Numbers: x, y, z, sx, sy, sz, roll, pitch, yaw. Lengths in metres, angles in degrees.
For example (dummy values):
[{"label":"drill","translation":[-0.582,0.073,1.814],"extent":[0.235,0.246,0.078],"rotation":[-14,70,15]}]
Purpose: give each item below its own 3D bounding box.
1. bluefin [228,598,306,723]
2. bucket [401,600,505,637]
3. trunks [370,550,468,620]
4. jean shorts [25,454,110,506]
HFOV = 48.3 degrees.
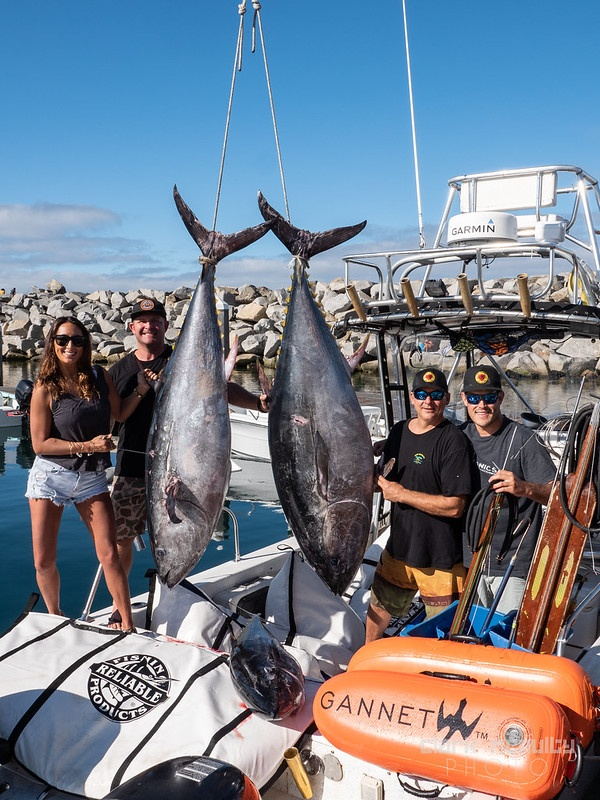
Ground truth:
[{"label":"bluefin","translation":[-0.126,0.848,2.168],"extent":[0.217,0.124,0.362],"rotation":[-20,45,-19]},{"label":"bucket","translation":[0.600,0.795,2.549],"extent":[0.286,0.088,0.210],"rotation":[4,11,27]},{"label":"trunks","translation":[0.502,0.780,2.841],"extent":[0.373,0.289,0.133],"rotation":[3,7,14]},{"label":"jean shorts","translation":[-0.943,0.343,2.732],"extent":[0.377,0.190,0.208],"rotation":[14,-24,-28]}]
